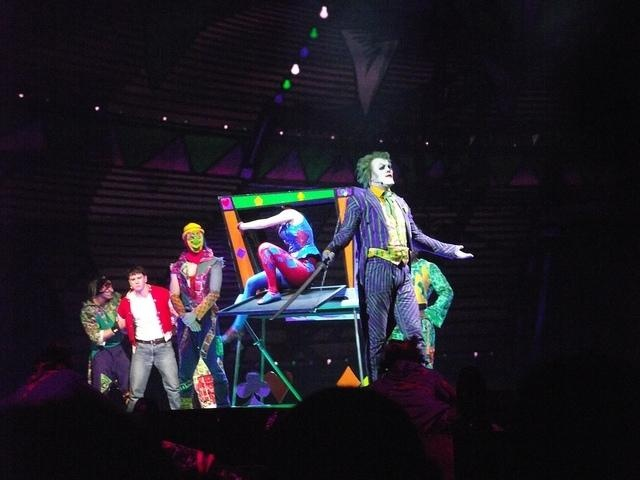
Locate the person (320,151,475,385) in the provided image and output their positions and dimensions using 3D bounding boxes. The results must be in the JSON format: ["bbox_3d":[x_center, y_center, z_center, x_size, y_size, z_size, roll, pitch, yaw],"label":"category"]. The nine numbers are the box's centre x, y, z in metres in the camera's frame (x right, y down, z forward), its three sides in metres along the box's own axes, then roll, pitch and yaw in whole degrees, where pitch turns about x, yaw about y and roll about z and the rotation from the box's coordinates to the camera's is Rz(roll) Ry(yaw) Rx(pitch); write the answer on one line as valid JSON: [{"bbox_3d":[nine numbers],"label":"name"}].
[{"bbox_3d":[0.477,0.182,4.735,0.748,1.907,0.387,0,-2,9],"label":"person"}]

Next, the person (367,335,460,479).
[{"bbox_3d":[0.574,1.031,3.537,0.536,0.759,0.561,0,-3,13],"label":"person"}]

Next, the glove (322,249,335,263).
[{"bbox_3d":[0.071,0.133,4.667,0.084,0.103,0.086,-2,3,-7],"label":"glove"}]

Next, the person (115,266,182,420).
[{"bbox_3d":[-1.560,0.901,5.173,0.578,1.277,0.191,1,-3,-16],"label":"person"}]

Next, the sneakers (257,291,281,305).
[{"bbox_3d":[-0.479,0.546,5.260,0.193,0.079,0.104,-5,4,3],"label":"sneakers"}]
